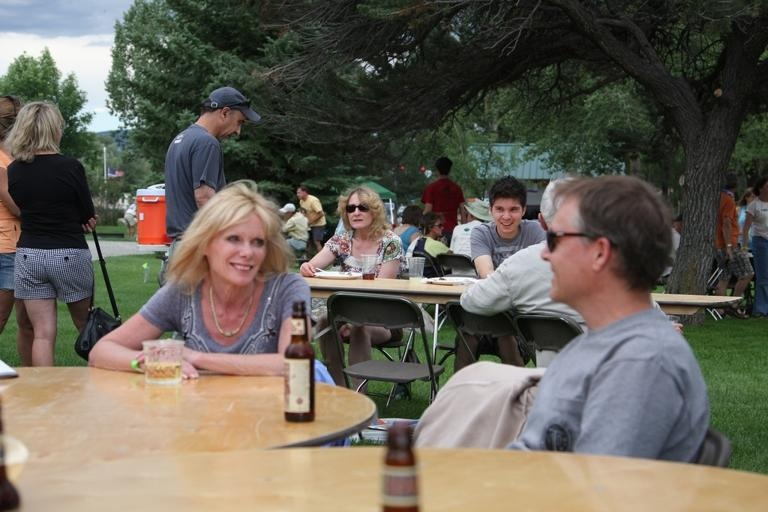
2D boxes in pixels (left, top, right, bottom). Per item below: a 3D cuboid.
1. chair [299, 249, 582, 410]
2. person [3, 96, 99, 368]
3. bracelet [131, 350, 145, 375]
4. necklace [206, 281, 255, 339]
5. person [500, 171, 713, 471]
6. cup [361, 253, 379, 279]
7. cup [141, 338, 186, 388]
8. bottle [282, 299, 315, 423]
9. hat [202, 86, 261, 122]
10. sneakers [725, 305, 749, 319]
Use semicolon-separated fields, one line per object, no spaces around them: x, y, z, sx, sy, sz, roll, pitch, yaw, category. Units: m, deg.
0.492;0.354;4.992;0.633;1.039;0.790;-6;21;31;chair
-2.525;-0.164;6.059;0.613;2.007;0.478;-3;9;-20;person
-1.191;0.514;3.847;0.070;0.097;0.034;8;-3;21;bracelet
-0.825;0.274;4.245;0.174;0.303;0.067;1;2;-4;necklace
0.902;0.276;3.216;0.760;1.108;1.164;2;7;22;person
-0.144;0.083;6.945;0.202;0.239;0.175;2;-3;-16;cup
-1.006;0.483;3.637;0.191;0.185;0.192;1;1;0;cup
-0.346;0.406;3.218;0.123;0.469;0.224;0;9;-6;bottle
-1.293;-1.278;6.735;0.456;0.244;0.301;-2;11;-23;hat
5.583;0.873;12.610;0.167;0.171;0.429;-2;-2;-12;sneakers
